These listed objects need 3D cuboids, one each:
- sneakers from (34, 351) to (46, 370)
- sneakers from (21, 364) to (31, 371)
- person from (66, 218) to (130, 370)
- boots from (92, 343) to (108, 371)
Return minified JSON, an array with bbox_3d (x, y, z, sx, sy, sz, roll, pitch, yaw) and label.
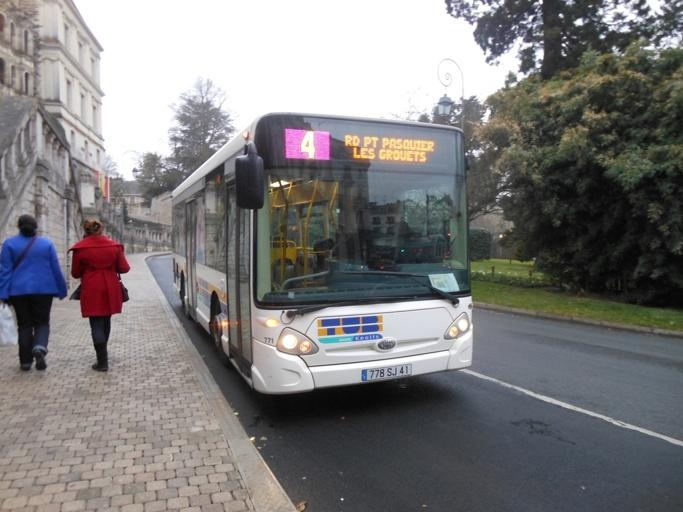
[{"bbox_3d":[-4.453,1.562,7.588,0.115,0.361,0.138,1,13,-12],"label":"sneakers"},{"bbox_3d":[-4.759,1.667,7.711,0.080,0.135,0.140,1,-7,18],"label":"sneakers"},{"bbox_3d":[-3.766,0.597,8.046,0.798,2.310,0.676,-3,7,-27],"label":"person"},{"bbox_3d":[-3.689,1.559,7.954,0.198,0.482,0.401,-1,9,-21],"label":"boots"}]
